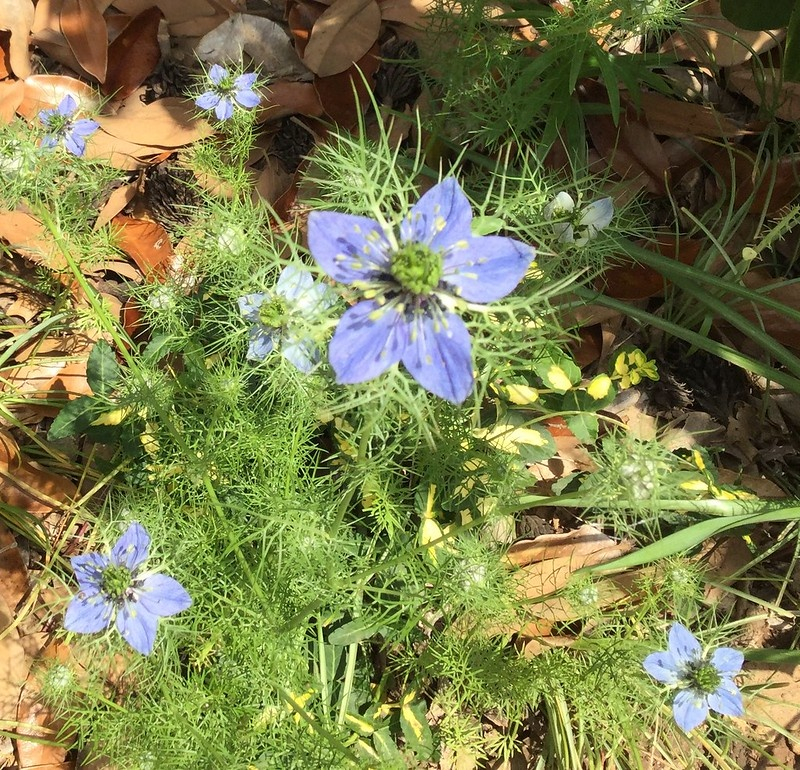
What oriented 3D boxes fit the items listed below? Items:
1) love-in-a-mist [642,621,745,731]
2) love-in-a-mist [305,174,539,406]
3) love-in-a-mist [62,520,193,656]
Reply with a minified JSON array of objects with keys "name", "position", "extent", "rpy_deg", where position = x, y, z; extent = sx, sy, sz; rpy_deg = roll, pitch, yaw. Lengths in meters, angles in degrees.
[{"name":"love-in-a-mist","position":[0.713,0.672,1.716],"extent":[0.170,0.052,0.172],"rpy_deg":[-9,13,-38]},{"name":"love-in-a-mist","position":[0.025,-0.174,1.200],"extent":[0.344,0.200,0.381],"rpy_deg":[12,58,9]},{"name":"love-in-a-mist","position":[-0.589,0.427,1.630],"extent":[0.306,0.091,0.286],"rpy_deg":[23,101,12]}]
